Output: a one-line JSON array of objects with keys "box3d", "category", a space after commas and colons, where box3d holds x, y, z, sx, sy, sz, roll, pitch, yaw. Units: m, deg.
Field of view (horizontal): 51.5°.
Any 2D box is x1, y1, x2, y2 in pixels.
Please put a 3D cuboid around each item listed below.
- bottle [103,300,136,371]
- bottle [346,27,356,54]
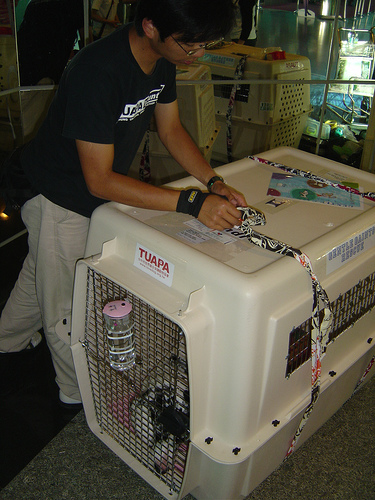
[{"box3d": [-0.172, 0.220, 0.986, 0.070, 0.173, 0.068, 0, 27, 0], "category": "bottle"}, {"box3d": [0.955, -1.213, 2.281, 0.045, 0.134, 0.078, 13, 29, 18], "category": "bottle"}]
